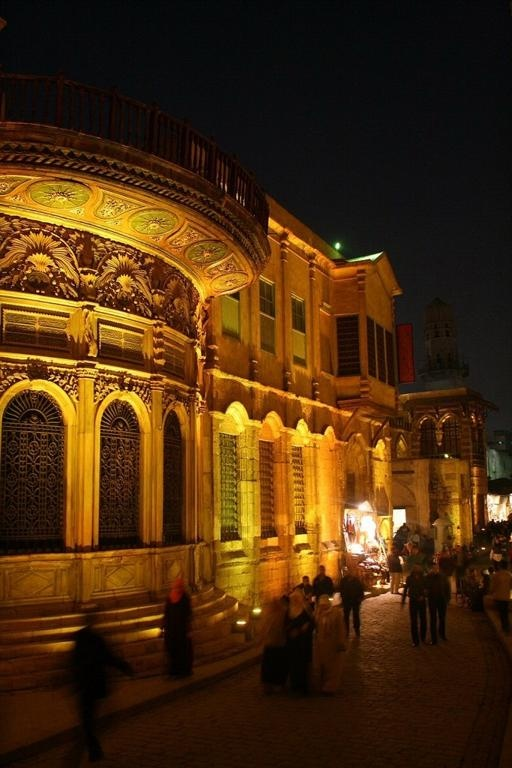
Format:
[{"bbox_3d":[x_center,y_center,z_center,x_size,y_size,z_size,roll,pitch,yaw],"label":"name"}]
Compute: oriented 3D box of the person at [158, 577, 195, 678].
[{"bbox_3d":[-0.951,2.954,8.530,0.344,1.125,0.257,1,-9,-7],"label":"person"}]
